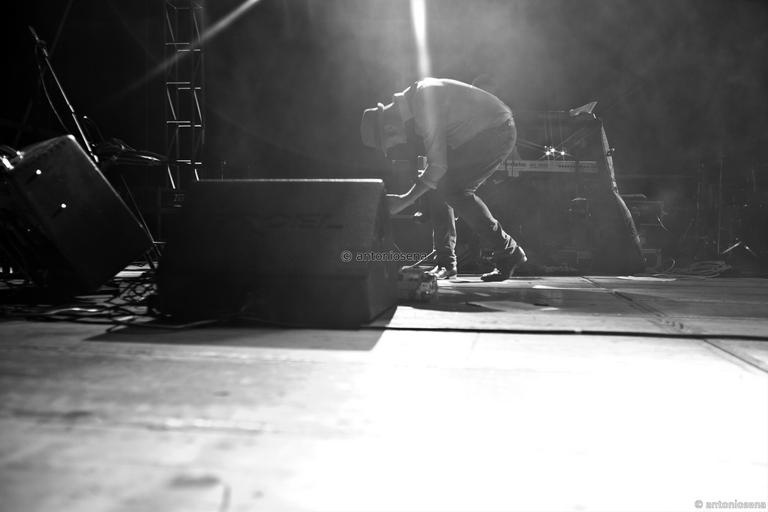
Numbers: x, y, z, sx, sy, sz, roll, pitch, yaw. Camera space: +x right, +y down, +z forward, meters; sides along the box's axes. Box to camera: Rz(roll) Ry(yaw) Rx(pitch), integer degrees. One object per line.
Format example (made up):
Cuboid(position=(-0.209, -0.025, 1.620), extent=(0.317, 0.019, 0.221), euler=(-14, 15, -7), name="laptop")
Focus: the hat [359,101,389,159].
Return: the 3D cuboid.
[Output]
Cuboid(position=(-0.063, -0.774, 3.263), extent=(0.136, 0.272, 0.284), euler=(0, 13, -2), name="hat")
